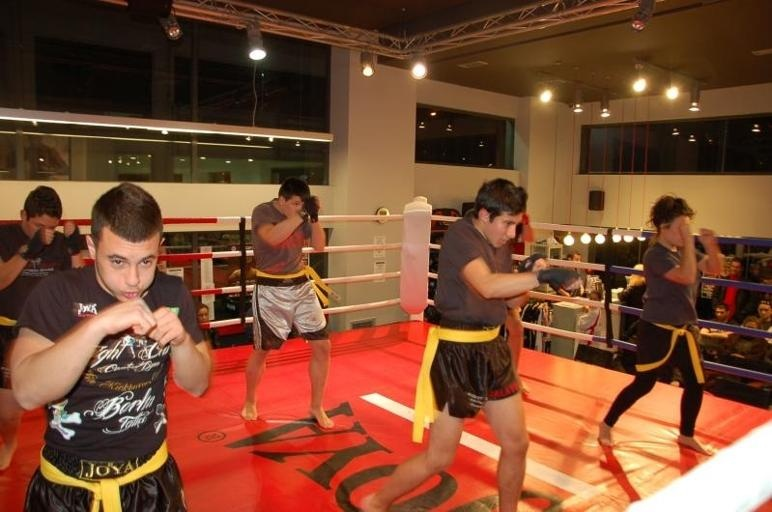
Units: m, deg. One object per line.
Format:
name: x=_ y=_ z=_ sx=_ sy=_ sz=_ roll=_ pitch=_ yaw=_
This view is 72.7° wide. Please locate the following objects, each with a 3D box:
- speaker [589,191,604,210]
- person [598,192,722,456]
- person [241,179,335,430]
speaker: x=4.405 y=-1.167 z=10.965 sx=0.355 sy=0.496 sz=0.260 roll=-1 pitch=-10 yaw=16
person: x=1.946 y=0.510 z=3.734 sx=0.803 sy=1.720 sz=0.487 roll=0 pitch=-2 yaw=22
person: x=-0.776 y=0.331 z=3.967 sx=0.680 sy=1.789 sz=0.685 roll=-2 pitch=12 yaw=-9
